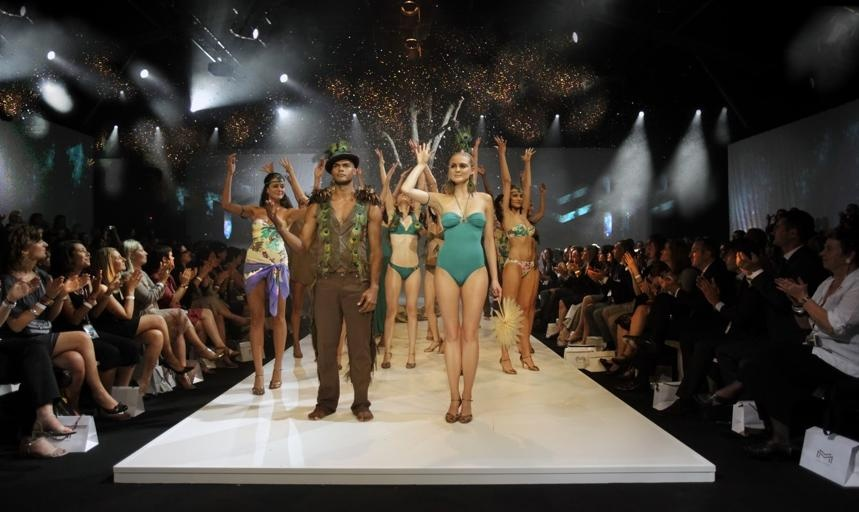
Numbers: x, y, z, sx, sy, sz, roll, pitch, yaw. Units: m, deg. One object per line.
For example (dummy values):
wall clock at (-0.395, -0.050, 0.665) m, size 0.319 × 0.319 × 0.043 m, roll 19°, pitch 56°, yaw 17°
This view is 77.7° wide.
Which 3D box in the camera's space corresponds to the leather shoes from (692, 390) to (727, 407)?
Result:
leather shoes at (3.428, 1.733, 6.459) m, size 0.413 × 0.166 × 0.143 m, roll -5°, pitch 1°, yaw 9°

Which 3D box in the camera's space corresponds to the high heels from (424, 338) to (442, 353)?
high heels at (0.076, 1.530, 9.119) m, size 0.130 × 0.177 × 0.394 m, roll -7°, pitch -16°, yaw 30°

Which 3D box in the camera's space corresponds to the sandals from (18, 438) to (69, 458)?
sandals at (-4.147, 2.057, 5.711) m, size 0.370 × 0.156 × 0.206 m, roll 3°, pitch 2°, yaw 9°

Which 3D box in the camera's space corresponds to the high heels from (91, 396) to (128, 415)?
high heels at (-3.839, 1.804, 6.422) m, size 0.309 × 0.115 × 0.168 m, roll -3°, pitch -10°, yaw 24°

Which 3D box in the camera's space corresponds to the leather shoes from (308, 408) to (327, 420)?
leather shoes at (-1.284, 1.809, 6.169) m, size 0.228 × 0.143 × 0.130 m, roll 3°, pitch -1°, yaw -11°

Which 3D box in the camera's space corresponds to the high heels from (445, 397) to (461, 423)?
high heels at (0.276, 1.753, 6.088) m, size 0.185 × 0.279 × 0.121 m, roll 3°, pitch 0°, yaw -20°

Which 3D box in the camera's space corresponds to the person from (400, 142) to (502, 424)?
person at (0.303, 0.277, 6.225) m, size 1.022 × 3.181 × 0.390 m, roll 2°, pitch 0°, yaw 7°

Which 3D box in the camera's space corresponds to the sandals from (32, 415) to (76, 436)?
sandals at (-4.077, 1.865, 5.909) m, size 0.522 × 0.227 × 0.204 m, roll 1°, pitch -5°, yaw -11°

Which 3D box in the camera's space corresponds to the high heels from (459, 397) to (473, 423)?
high heels at (0.405, 1.748, 6.091) m, size 0.177 × 0.280 × 0.159 m, roll 2°, pitch 0°, yaw 0°

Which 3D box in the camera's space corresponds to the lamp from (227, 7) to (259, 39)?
lamp at (-3.903, -4.884, 11.224) m, size 0.614 × 0.265 × 0.923 m, roll 3°, pitch -1°, yaw -23°
